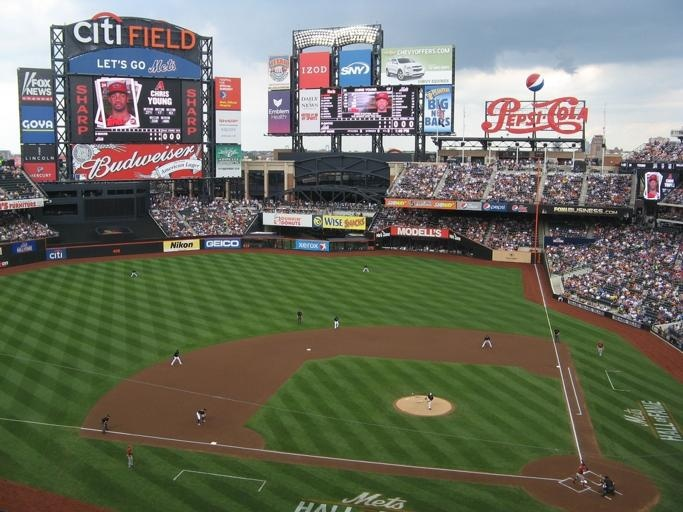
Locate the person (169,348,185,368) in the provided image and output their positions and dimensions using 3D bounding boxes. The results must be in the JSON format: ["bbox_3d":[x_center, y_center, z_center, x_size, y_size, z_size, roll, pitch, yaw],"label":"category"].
[{"bbox_3d":[-10.782,6.804,46.116,0.948,1.626,0.504,2,47,-13],"label":"person"}]

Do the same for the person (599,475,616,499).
[{"bbox_3d":[12.919,11.236,33.993,0.728,0.369,0.902,1,14,12],"label":"person"}]

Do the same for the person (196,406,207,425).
[{"bbox_3d":[-7.815,8.880,39.335,0.598,0.762,1.294,-2,14,-11],"label":"person"}]
